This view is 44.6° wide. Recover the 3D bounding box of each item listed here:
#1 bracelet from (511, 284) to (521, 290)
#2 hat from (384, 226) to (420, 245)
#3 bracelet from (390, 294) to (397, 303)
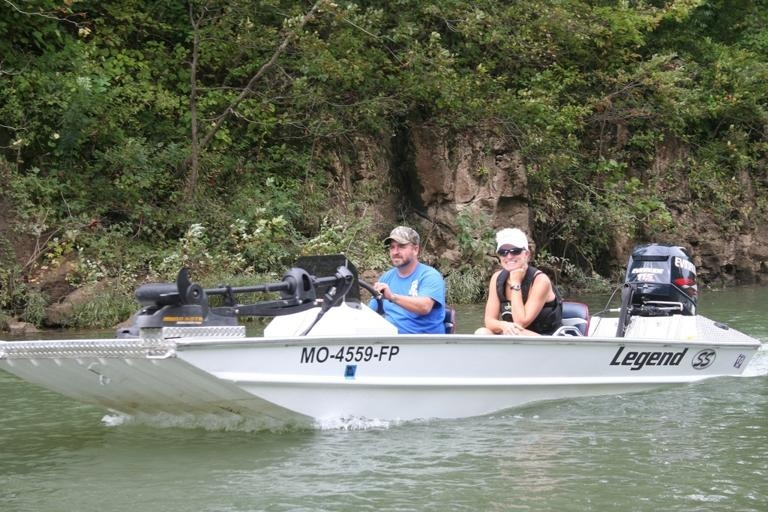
[{"bbox_3d":[2.027,0.485,14.384,0.092,0.047,0.093,-7,-5,41],"label":"bracelet"},{"bbox_3d":[0.287,-0.325,14.298,0.316,0.203,0.444,-3,-21,46],"label":"hat"},{"bbox_3d":[0.141,0.648,14.068,0.094,0.113,0.059,-9,0,19],"label":"bracelet"}]
